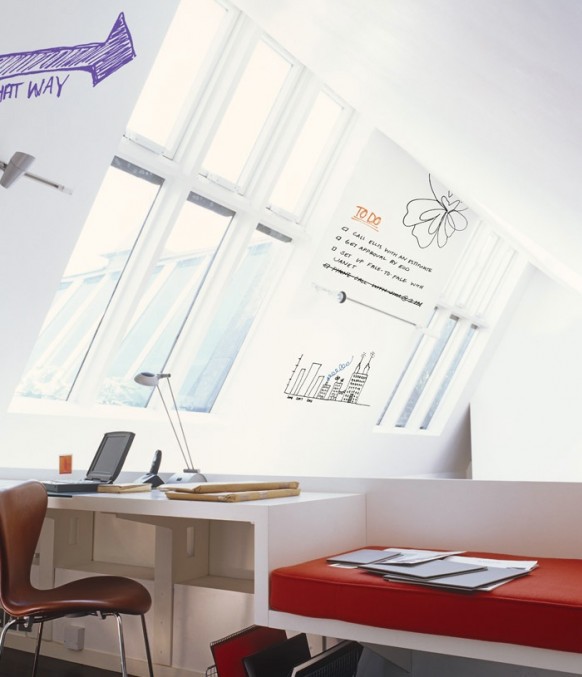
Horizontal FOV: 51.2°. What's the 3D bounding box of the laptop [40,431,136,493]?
[{"bbox_3d":[-0.825,0.505,2.521,0.212,0.264,0.282,22,-10,-35],"label":"laptop"}]
